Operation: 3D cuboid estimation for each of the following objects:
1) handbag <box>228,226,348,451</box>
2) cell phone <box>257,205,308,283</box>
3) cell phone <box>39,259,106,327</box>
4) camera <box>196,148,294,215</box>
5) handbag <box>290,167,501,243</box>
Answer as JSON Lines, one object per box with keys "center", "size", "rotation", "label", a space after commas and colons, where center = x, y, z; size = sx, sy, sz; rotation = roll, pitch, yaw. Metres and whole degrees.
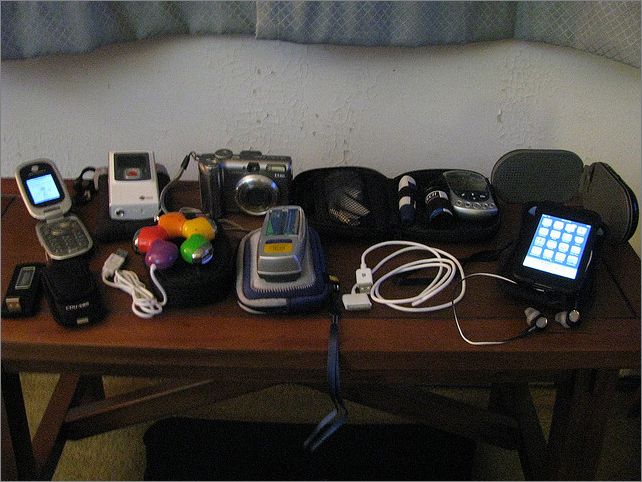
{"center": [-0.050, 0.133, 1.132], "size": [0.221, 0.082, 0.434], "rotation": [-15, 46, -14], "label": "handbag"}
{"center": [-0.079, -0.003, 1.162], "size": [0.096, 0.058, 0.207], "rotation": [-1, 36, 5], "label": "cell phone"}
{"center": [-0.501, 0.100, 1.125], "size": [0.110, 0.049, 0.161], "rotation": [-12, 46, -29], "label": "cell phone"}
{"center": [-0.179, -0.140, 1.326], "size": [0.221, 0.152, 0.112], "rotation": [0, 34, -2], "label": "camera"}
{"center": [0.163, -0.084, 1.304], "size": [0.379, 0.067, 0.223], "rotation": [0, 45, 2], "label": "handbag"}
